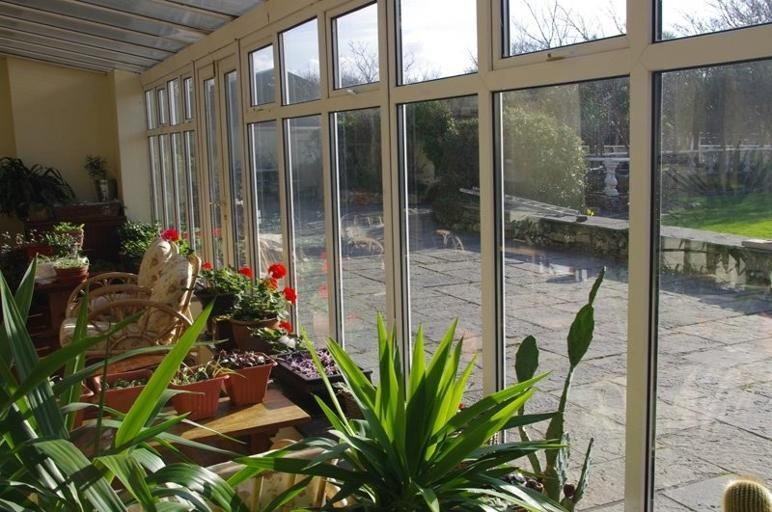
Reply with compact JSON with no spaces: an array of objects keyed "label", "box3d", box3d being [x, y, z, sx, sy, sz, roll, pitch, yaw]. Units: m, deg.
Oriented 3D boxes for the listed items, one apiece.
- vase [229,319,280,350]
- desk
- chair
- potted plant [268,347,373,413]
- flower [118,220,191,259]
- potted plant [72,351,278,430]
[{"label":"vase","box3d":[-0.975,0.573,4.012,0.278,0.182,0.269,2,9,4]},{"label":"desk","box3d":[-0.798,0.937,2.811,0.758,0.410,0.774,14,-16,2]},{"label":"chair","box3d":[-1.944,0.329,4.355,1.075,0.785,1.732,-6,8,-26]},{"label":"potted plant","box3d":[-0.404,0.703,3.137,0.445,0.201,0.644,-7,12,-30]},{"label":"flower","box3d":[-3.591,-0.260,7.975,0.914,0.364,0.891,-5,20,-21]},{"label":"potted plant","box3d":[-0.979,0.647,2.625,0.898,0.256,0.476,-4,8,-17]}]
